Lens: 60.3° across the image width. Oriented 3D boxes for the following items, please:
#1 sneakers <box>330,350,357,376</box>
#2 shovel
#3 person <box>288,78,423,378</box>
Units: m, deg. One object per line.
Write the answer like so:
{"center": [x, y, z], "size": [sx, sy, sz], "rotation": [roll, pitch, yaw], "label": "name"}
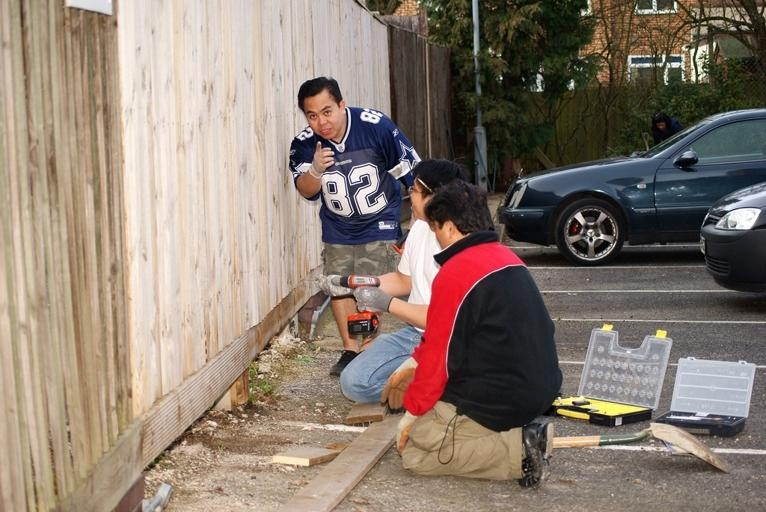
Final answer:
{"center": [-0.338, 0.902, 5.553], "size": [0.111, 0.162, 0.350], "rotation": [-1, 1, 25], "label": "sneakers"}
{"center": [1.639, 1.138, 4.252], "size": [1.059, 0.297, 0.480], "rotation": [2, 11, 12], "label": "shovel"}
{"center": [-0.281, -0.198, 5.882], "size": [1.060, 2.564, 1.111], "rotation": [3, 17, -3], "label": "person"}
